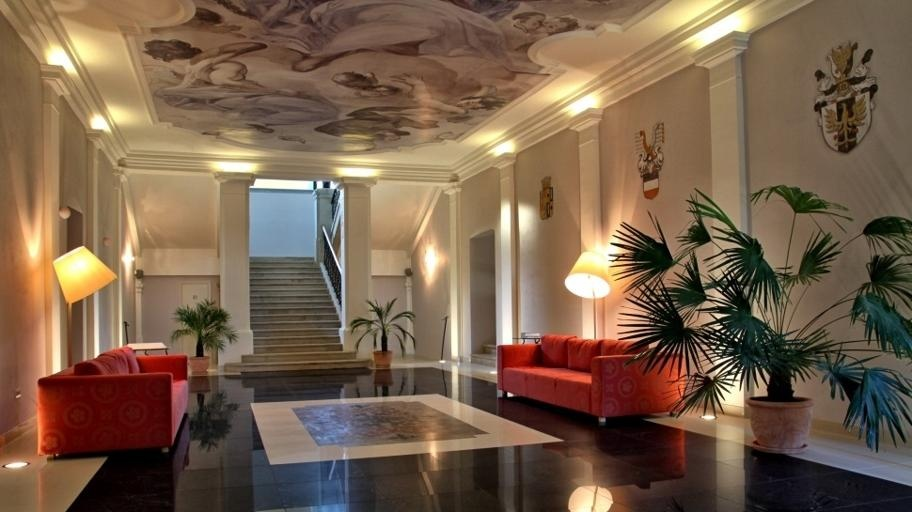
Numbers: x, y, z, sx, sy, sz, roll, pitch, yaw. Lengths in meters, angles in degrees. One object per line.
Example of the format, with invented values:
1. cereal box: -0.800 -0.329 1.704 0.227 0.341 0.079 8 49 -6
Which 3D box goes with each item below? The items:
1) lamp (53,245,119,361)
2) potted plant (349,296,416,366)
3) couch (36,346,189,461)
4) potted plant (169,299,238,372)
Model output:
1. lamp: -6.062 0.798 8.745 0.768 1.940 1.168 0 -2 -35
2. potted plant: -2.133 2.347 15.763 2.011 1.764 1.830 0 -10 -16
3. couch: -4.807 2.004 7.698 1.594 1.214 1.863 0 -2 -20
4. potted plant: -6.459 1.888 14.108 1.063 1.456 1.350 -1 -2 8
